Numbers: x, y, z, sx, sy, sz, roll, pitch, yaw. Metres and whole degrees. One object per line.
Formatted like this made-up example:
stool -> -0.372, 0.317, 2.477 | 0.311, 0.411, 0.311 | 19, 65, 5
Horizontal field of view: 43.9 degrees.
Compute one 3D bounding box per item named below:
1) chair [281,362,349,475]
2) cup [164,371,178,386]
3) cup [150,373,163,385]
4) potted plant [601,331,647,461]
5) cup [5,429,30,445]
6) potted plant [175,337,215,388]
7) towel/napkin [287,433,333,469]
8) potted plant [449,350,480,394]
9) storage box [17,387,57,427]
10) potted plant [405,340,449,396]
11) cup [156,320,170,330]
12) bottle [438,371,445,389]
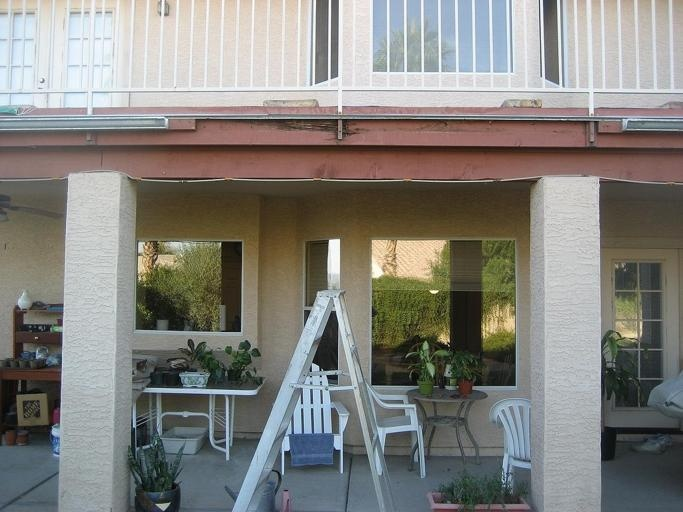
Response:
chair -> -0.266, 1.769, 9.375 | 1.042, 1.340, 1.149 | 0, -9, -3
cup -> -1.841, 1.349, 9.203 | 0.133, 0.123, 0.135 | 0, 2, 0
cup -> -2.013, 1.360, 9.255 | 0.132, 0.140, 0.137 | 0, -3, 0
potted plant -> 3.165, 1.535, 9.442 | 0.468, 1.392, 1.187 | -1, -5, 19
cup -> -3.677, 2.065, 9.557 | 0.206, 0.136, 0.197 | 2, -1, 0
potted plant -> -1.603, 1.209, 9.407 | 0.599, 0.563, 0.434 | 1, -10, -5
towel/napkin -> -0.298, 2.029, 8.793 | 0.376, 0.352, 0.091 | 2, -8, -5
potted plant -> 1.380, 1.300, 9.335 | 0.392, 0.472, 0.436 | 5, -12, -15
storage box -> -3.648, 1.788, 9.883 | 0.398, 0.292, 0.381 | 0, -16, -7
potted plant -> 0.986, 1.319, 9.343 | 0.484, 0.411, 0.531 | -1, -2, -4
cup -> -2.088, 0.817, 9.888 | 0.125, 0.115, 0.128 | -1, -8, 0
bottle -> 1.122, 1.383, 9.371 | 0.100, 0.168, 0.036 | -3, -5, 31
